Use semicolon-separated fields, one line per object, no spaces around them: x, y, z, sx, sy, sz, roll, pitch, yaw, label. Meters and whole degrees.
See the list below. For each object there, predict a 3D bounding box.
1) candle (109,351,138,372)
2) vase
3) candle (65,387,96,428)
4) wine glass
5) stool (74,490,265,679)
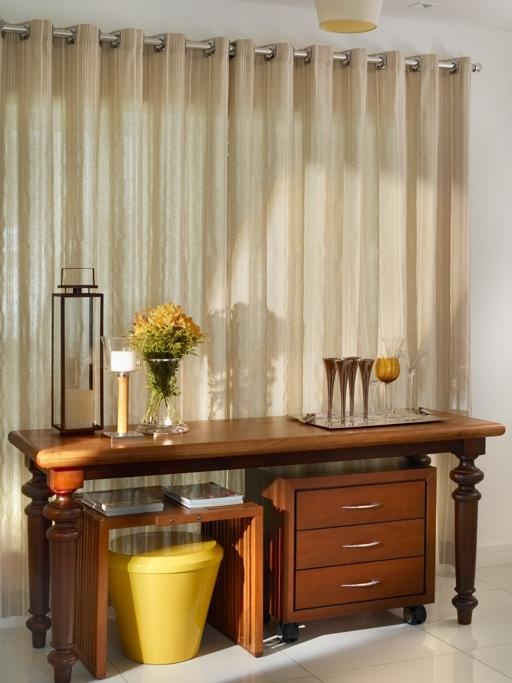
-0.402;0.061;2.021;0.062;0.058;0.065;1;0;-13;candle
-0.320;0.159;2.207;0.184;0.252;0.193;2;4;-1;vase
-0.537;0.206;2.042;0.099;0.127;0.107;1;-1;0;candle
0.549;0.141;2.650;0.159;0.281;0.417;0;-3;8;wine glass
-0.293;0.661;2.181;0.608;0.556;0.509;1;-2;-25;stool
